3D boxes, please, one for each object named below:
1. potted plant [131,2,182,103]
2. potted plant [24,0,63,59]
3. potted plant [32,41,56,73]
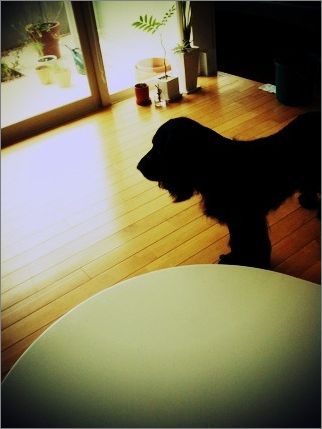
[{"bbox_3d":[-0.022,-1.460,3.381,0.449,0.797,0.564,10,34,33],"label":"potted plant"},{"bbox_3d":[-0.903,-1.418,2.801,0.249,0.291,0.234,-34,59,-21],"label":"potted plant"},{"bbox_3d":[-0.905,-1.241,2.904,0.145,0.151,0.179,-6,44,-6],"label":"potted plant"}]
